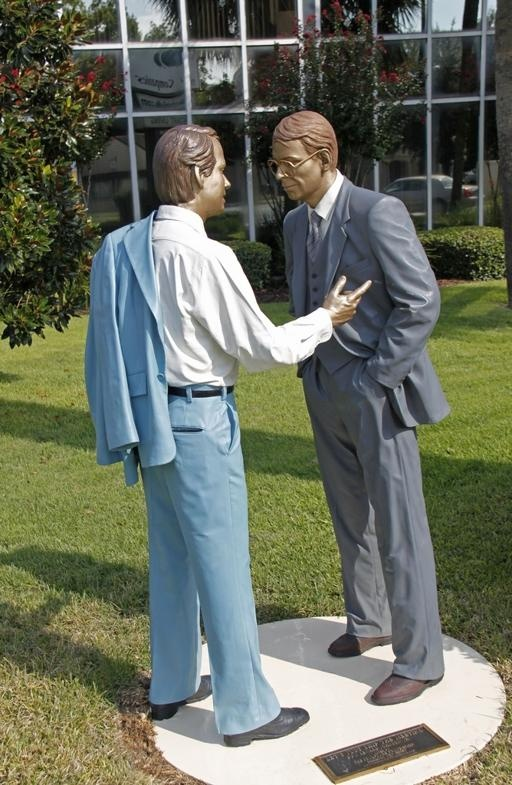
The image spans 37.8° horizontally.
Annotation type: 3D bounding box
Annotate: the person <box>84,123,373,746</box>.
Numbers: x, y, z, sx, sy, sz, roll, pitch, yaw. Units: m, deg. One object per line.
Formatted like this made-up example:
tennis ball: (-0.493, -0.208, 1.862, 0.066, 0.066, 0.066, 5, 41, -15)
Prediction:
person: (-0.117, 0.270, 2.160, 0.709, 1.581, 0.383, -3, 9, -7)
